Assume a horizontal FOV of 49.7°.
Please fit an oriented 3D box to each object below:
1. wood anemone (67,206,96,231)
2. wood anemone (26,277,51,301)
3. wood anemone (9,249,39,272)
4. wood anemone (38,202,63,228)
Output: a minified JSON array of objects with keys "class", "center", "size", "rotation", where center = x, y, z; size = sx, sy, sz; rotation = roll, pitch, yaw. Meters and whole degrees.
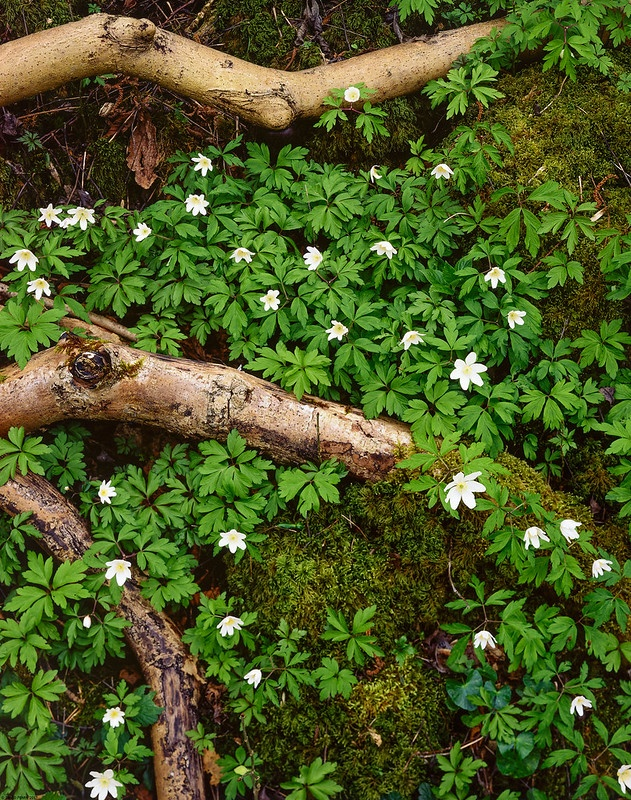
[{"class":"wood anemone","center":[-1.529,-1.173,4.422],"size":[0.164,0.120,0.083],"rotation":[4,43,2]},{"class":"wood anemone","center":[-1.716,-0.683,4.227],"size":[0.119,0.115,0.152],"rotation":[-26,51,-27]},{"class":"wood anemone","center":[-1.813,-0.872,4.274],"size":[0.146,0.151,0.072],"rotation":[29,3,-8]},{"class":"wood anemone","center":[-1.715,-1.186,4.406],"size":[0.161,0.045,0.178],"rotation":[13,76,-18]}]
